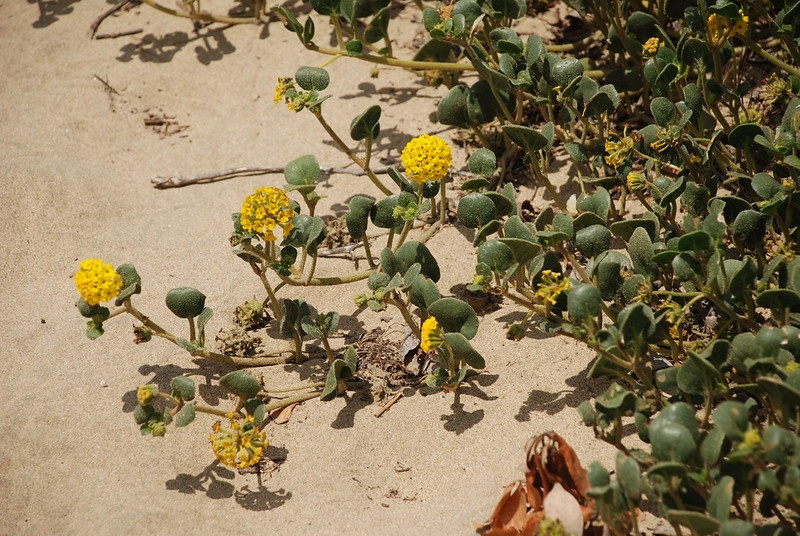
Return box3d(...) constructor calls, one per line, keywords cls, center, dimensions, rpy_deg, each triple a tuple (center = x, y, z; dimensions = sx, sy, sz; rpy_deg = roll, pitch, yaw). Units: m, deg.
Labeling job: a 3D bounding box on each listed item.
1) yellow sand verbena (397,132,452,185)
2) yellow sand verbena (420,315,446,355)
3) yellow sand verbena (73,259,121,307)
box3d(cls="yellow sand verbena", center=(0.222, -0.891, 7.761), dimensions=(0.395, 0.390, 0.406), rpy_deg=(23, 14, -10))
box3d(cls="yellow sand verbena", center=(0.235, 0.518, 7.287), dimensions=(0.195, 0.185, 0.251), rpy_deg=(-17, 16, 40))
box3d(cls="yellow sand verbena", center=(-2.352, 0.126, 7.445), dimensions=(0.358, 0.351, 0.128), rpy_deg=(4, 3, -8))
